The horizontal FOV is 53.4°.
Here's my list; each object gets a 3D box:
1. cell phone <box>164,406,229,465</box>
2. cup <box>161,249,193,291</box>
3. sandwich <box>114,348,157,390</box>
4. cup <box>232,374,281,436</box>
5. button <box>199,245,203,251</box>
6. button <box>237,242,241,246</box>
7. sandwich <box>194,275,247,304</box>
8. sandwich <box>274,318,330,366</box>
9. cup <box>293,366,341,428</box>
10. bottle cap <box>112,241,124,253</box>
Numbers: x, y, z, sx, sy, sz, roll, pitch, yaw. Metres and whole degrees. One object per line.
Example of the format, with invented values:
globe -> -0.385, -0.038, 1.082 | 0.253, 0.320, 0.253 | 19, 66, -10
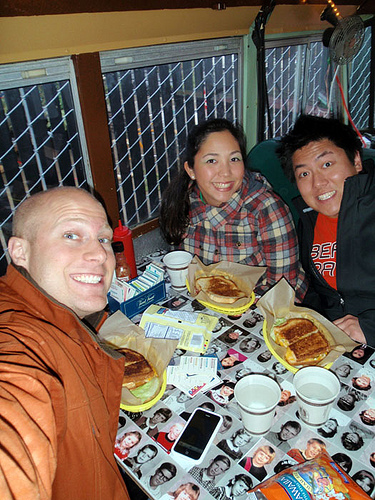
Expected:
cell phone -> 0.022, 0.405, 0.827 | 0.073, 0.126, 0.014 | 25, 7, -4
cup -> -0.034, 0.082, 1.398 | 0.125, 0.117, 0.138 | -2, 27, -3
sandwich -> -0.134, 0.315, 0.999 | 0.096, 0.023, 0.097 | -4, 30, -41
cup -> 0.148, 0.362, 0.828 | 0.084, 0.071, 0.089 | -17, 24, 8
button -> 0.062, -0.012, 1.753 | 0.017, 0.016, 0.005 | 1, 4, 39
button -> 0.231, -0.027, 1.673 | 0.015, 0.015, 0.005 | -3, 23, 7
sandwich -> 0.114, 0.133, 1.289 | 0.106, 0.021, 0.107 | -11, 37, -36
sandwich -> 0.329, 0.258, 1.058 | 0.140, 0.039, 0.146 | -50, 34, -1
cup -> 0.284, 0.327, 0.863 | 0.117, 0.091, 0.122 | -1, 26, 0
bottle cap -> -0.235, -0.011, 1.265 | 0.035, 0.025, 0.035 | 23, 30, 34
